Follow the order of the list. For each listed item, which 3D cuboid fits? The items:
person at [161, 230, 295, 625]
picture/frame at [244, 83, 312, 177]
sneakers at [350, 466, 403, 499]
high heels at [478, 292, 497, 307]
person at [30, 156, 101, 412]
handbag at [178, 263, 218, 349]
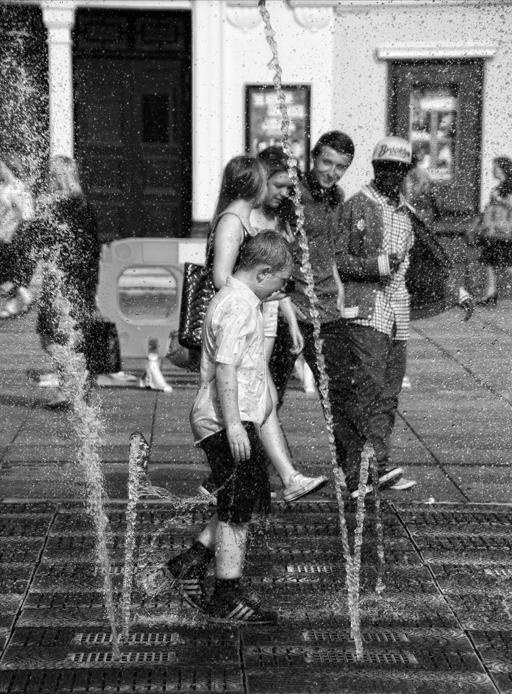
[{"bbox_3d":[-0.090,0.251,3.277,0.384,1.223,0.353,1,8,3],"label":"person"},{"bbox_3d":[0.234,-2.481,11.358,0.736,0.077,1.167,1,50,4],"label":"picture/frame"},{"bbox_3d":[0.528,0.607,4.601,0.223,0.094,0.078,-31,-16,-26],"label":"sneakers"},{"bbox_3d":[2.486,-0.508,11.055,0.091,0.121,0.369,13,10,20],"label":"high heels"},{"bbox_3d":[-1.279,-0.502,7.034,0.416,1.583,1.173,-1,8,-9],"label":"person"},{"bbox_3d":[-0.219,-0.154,3.890,0.135,0.325,0.316,-2,6,-30],"label":"handbag"}]
